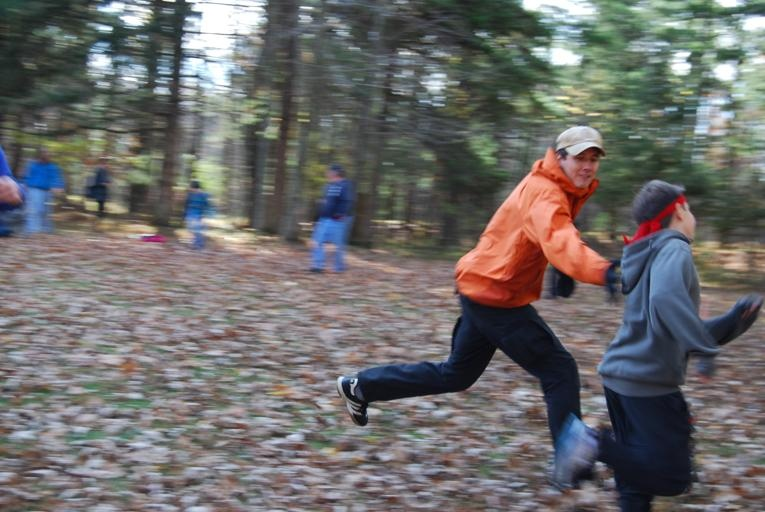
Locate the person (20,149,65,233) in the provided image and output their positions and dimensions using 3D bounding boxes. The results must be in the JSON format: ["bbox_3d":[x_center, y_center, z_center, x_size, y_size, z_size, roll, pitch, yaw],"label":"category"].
[{"bbox_3d":[-7.790,-1.483,20.950,0.727,1.928,1.417,5,6,-18],"label":"person"}]

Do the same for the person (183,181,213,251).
[{"bbox_3d":[-4.283,-1.000,21.223,0.522,1.565,1.558,6,5,-11],"label":"person"}]

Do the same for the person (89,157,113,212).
[{"bbox_3d":[-7.831,-1.938,25.400,0.569,1.646,1.209,5,6,-17],"label":"person"}]

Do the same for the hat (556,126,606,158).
[{"bbox_3d":[2.276,-1.316,10.527,0.552,0.360,0.243,3,6,-7],"label":"hat"}]
